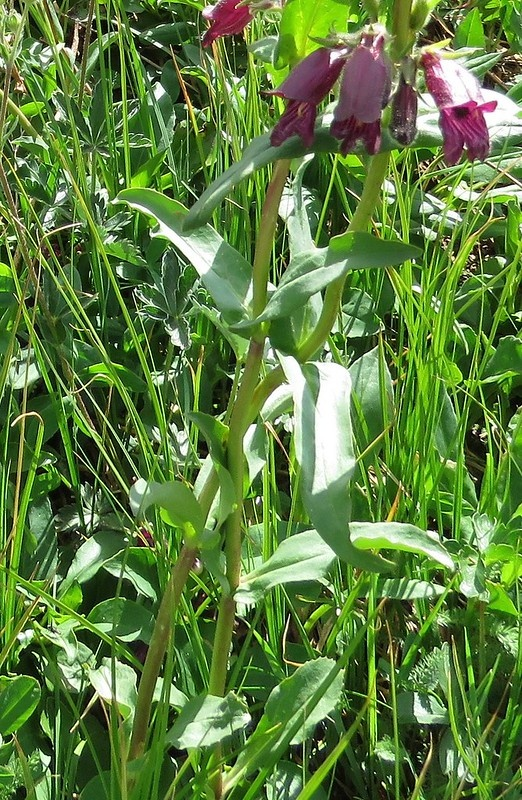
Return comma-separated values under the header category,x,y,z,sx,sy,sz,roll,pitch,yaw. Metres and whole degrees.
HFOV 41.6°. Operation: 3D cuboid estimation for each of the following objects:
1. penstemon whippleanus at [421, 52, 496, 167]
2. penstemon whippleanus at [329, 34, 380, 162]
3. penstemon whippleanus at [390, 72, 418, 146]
category,x,y,z,sx,sy,sz,roll,pitch,yaw
penstemon whippleanus,0.148,-0.212,0.510,0.054,0.074,0.062,-11,53,2
penstemon whippleanus,0.066,-0.203,0.479,0.035,0.065,0.064,1,55,11
penstemon whippleanus,0.101,-0.211,0.494,0.019,0.018,0.073,-1,78,24
